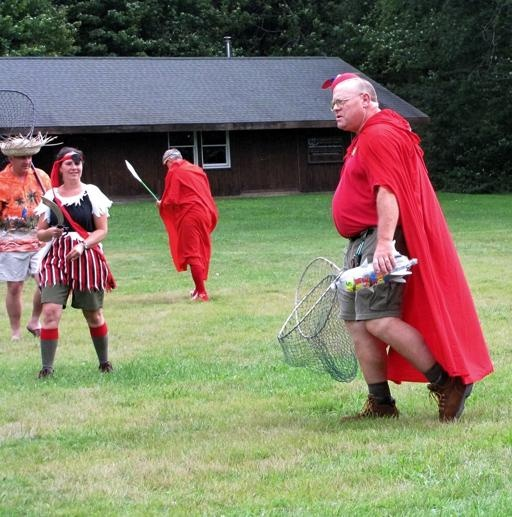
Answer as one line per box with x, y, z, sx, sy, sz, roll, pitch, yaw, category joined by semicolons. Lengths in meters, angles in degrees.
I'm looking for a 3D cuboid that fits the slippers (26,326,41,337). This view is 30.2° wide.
-2.070;0.669;8.834;0.110;0.104;0.066;-22;-18;-46;slippers

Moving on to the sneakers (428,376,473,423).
1.150;0.814;5.578;0.265;0.370;0.140;-2;19;-6;sneakers

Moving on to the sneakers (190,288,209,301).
-0.644;0.421;10.646;0.090;0.100;0.252;-14;5;-27;sneakers

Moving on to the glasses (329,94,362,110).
0.511;-0.926;5.697;0.107;0.031;0.101;8;-9;-41;glasses

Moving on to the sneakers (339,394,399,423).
0.668;0.929;5.862;0.419;0.169;0.131;1;-2;4;sneakers

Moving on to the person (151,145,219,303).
-0.793;-0.421;10.993;0.677;1.685;0.919;-4;7;-3;person

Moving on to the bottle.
0.688;0.088;5.486;0.481;0.266;0.360;-2;7;10;bottle

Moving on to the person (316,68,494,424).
0.924;-0.082;5.700;0.836;2.087;0.792;-5;7;-10;person

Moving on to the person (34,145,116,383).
-1.381;0.022;7.132;0.641;1.696;0.481;-5;7;-9;person
